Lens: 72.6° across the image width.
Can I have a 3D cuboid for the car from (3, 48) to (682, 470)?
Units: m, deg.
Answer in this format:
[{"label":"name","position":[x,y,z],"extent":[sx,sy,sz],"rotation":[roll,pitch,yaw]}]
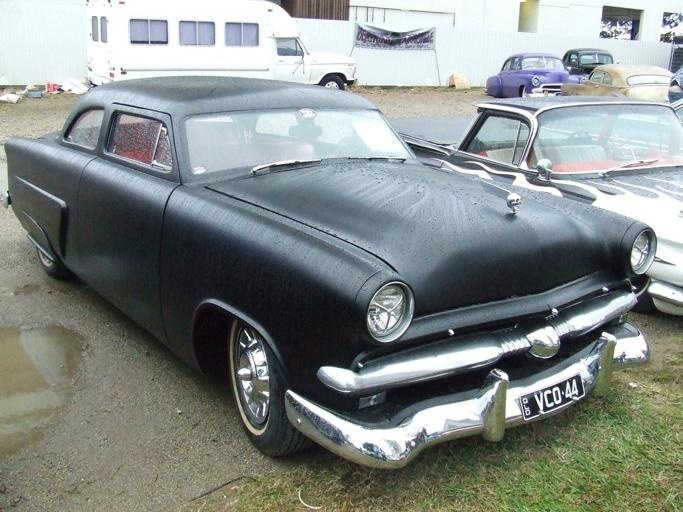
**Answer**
[{"label":"car","position":[-0.800,-0.300,3.475],"extent":[2.099,1.349,4.535],"rotation":[-13,25,-37]}]
